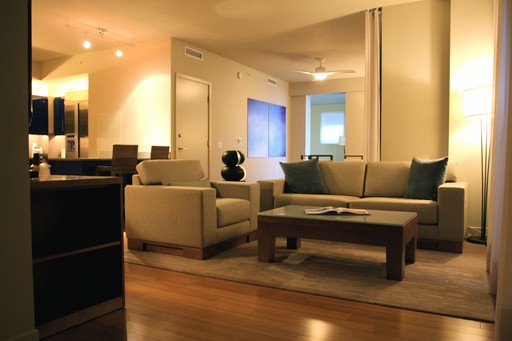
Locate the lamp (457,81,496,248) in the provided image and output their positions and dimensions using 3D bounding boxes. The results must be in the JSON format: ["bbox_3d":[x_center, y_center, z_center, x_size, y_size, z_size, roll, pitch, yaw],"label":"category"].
[{"bbox_3d":[2.777,-0.091,4.933,0.424,1.918,0.929,5,14,24],"label":"lamp"}]

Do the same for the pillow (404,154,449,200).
[{"bbox_3d":[2.116,0.097,4.830,0.539,0.662,0.259,-2,-32,45],"label":"pillow"}]

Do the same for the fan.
[{"bbox_3d":[1.458,-2.250,8.751,0.905,0.319,0.888,5,7,28],"label":"fan"}]

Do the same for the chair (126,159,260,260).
[{"bbox_3d":[-0.712,0.486,4.757,1.188,1.077,1.325,0,1,27],"label":"chair"}]

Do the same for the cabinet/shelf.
[{"bbox_3d":[-1.382,0.619,3.086,0.740,1.149,0.365,-7,14,-27],"label":"cabinet/shelf"}]

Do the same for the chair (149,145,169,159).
[{"bbox_3d":[-1.580,-0.305,6.413,0.233,0.322,0.249,-1,12,-19],"label":"chair"}]

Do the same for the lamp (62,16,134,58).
[{"bbox_3d":[-2.969,-2.506,7.201,0.827,0.390,1.355,6,14,26],"label":"lamp"}]
